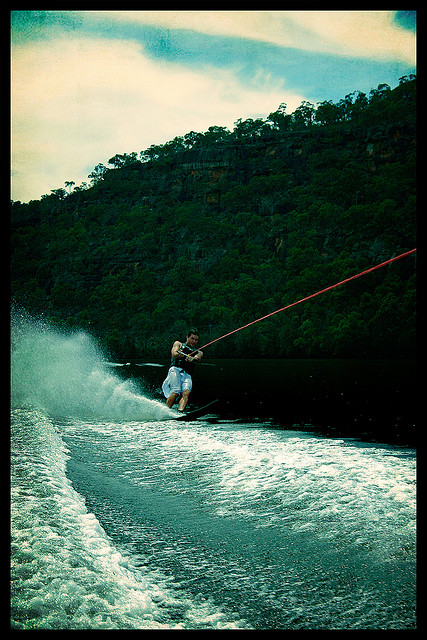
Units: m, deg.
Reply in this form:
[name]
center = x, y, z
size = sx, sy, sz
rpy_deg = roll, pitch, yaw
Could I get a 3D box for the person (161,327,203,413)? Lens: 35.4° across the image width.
[person]
center = -0.665, 1.028, 13.828
size = 0.678, 1.695, 1.388
rpy_deg = 6, 0, -4

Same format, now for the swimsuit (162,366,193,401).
[swimsuit]
center = -0.753, 1.280, 13.646
size = 0.657, 0.685, 0.388
rpy_deg = 6, 0, 14

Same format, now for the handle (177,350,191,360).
[handle]
center = -0.613, 0.698, 13.354
size = 0.352, 0.045, 0.050
rpy_deg = 29, 0, 13

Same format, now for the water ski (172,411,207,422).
[water ski]
center = -0.472, 1.905, 13.212
size = 0.386, 0.063, 1.777
rpy_deg = 5, 0, 10
